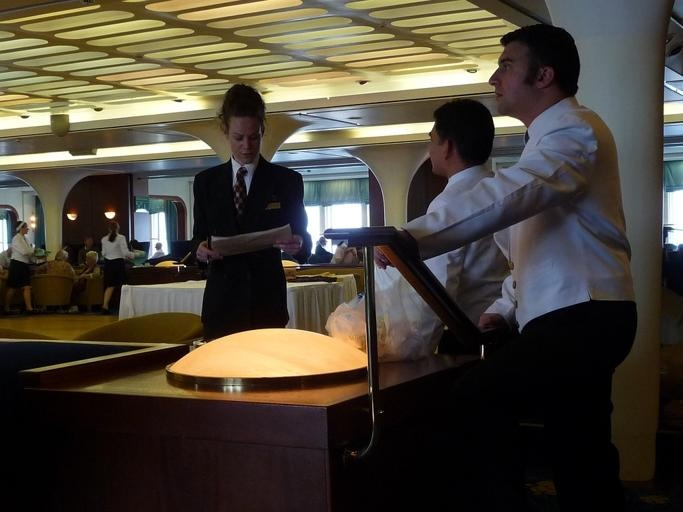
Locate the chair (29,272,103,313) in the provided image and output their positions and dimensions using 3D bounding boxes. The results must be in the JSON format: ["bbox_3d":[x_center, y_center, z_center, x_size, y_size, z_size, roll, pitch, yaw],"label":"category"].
[{"bbox_3d":[-6.071,0.750,13.733,0.873,0.732,1.153,1,5,-6],"label":"chair"}]

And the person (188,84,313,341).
[{"bbox_3d":[-0.405,-0.207,2.751,0.554,0.762,0.438,-2,1,-11],"label":"person"}]
